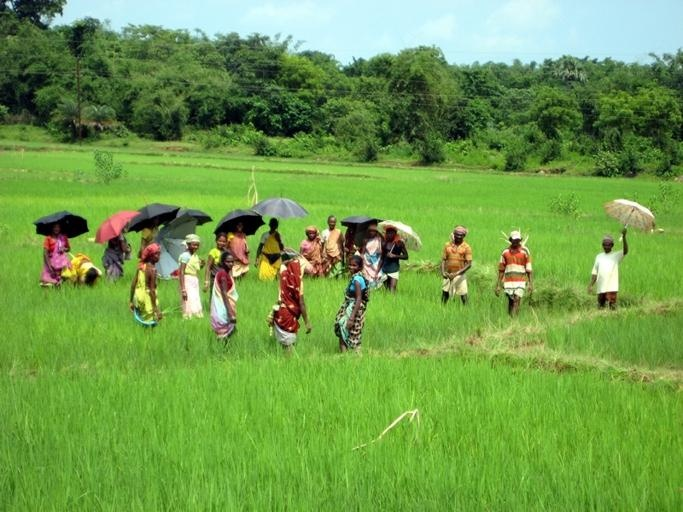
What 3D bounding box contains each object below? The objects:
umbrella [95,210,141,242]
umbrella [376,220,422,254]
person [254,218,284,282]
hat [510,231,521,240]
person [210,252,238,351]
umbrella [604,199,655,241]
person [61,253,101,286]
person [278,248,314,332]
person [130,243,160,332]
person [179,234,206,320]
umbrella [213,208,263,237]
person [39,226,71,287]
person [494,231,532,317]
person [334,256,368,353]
[{"bbox_3d":[-5.623,-0.699,22.329,1.019,0.711,0.669,-4,9,-29],"label":"umbrella"},{"bbox_3d":[1.473,-0.508,22.911,1.030,0.782,0.784,-7,11,-42],"label":"umbrella"},{"bbox_3d":[-1.930,-0.015,24.103,0.636,2.177,0.540,-6,33,-16],"label":"person"},{"bbox_3d":[4.173,-0.473,21.446,0.208,0.203,0.328,1,8,1],"label":"hat"},{"bbox_3d":[-2.482,0.840,18.764,0.532,1.857,0.401,0,7,-2],"label":"person"},{"bbox_3d":[8.362,-0.958,26.112,1.298,0.505,1.350,41,-2,20],"label":"umbrella"},{"bbox_3d":[-6.853,0.201,23.200,0.728,0.415,0.482,14,36,33],"label":"person"},{"bbox_3d":[-1.012,0.782,18.495,0.712,1.778,0.442,0,7,-1],"label":"person"},{"bbox_3d":[-4.313,0.657,19.701,0.670,1.860,0.502,0,8,-4],"label":"person"},{"bbox_3d":[-3.393,0.482,20.243,0.492,1.925,0.533,-1,8,-11],"label":"person"},{"bbox_3d":[-2.618,-0.843,23.530,0.959,0.768,1.500,5,9,27],"label":"umbrella"},{"bbox_3d":[-7.258,-0.015,22.635,0.740,1.577,0.405,-3,8,-24],"label":"person"},{"bbox_3d":[4.176,0.441,21.555,0.784,2.042,0.463,2,8,14],"label":"person"},{"bbox_3d":[0.207,1.036,18.907,0.686,2.091,0.476,1,7,1],"label":"person"}]
